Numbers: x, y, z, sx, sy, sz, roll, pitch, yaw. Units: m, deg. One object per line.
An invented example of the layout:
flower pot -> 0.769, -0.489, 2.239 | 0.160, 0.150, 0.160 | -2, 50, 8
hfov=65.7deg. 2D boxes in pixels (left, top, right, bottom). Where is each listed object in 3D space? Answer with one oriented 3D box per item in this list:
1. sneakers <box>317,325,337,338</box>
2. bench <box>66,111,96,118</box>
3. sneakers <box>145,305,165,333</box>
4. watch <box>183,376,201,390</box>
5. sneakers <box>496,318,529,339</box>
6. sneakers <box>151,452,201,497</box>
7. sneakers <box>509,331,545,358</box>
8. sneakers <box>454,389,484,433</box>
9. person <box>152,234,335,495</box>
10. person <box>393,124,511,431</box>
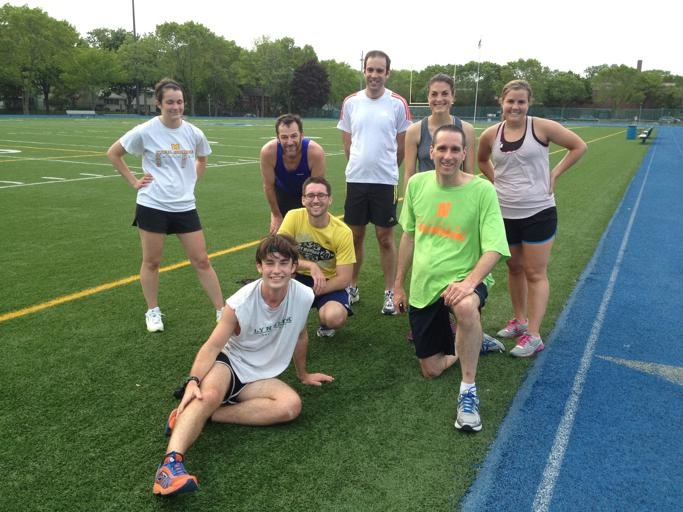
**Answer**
sneakers -> -0.149, 0.728, 5.118 | 0.169, 0.126, 0.086 | 0, 10, 17
bench -> -30.432, -16.626, 61.572 | 2.621, 0.515, 10.475 | -10, 20, -27
sneakers -> -1.797, 0.619, 5.101 | 0.130, 0.132, 0.279 | -4, 8, -32
watch -> -1.013, 0.853, 3.561 | 0.096, 0.041, 0.089 | -12, -10, 37
sneakers -> 1.659, 0.696, 5.188 | 0.341, 0.171, 0.139 | -9, 11, -9
sneakers -> -0.998, 1.314, 3.143 | 0.186, 0.195, 0.247 | -16, 23, -40
sneakers -> 1.671, 0.799, 4.767 | 0.354, 0.169, 0.149 | -9, 6, -43
sneakers -> 0.895, 1.116, 3.728 | 0.128, 0.165, 0.361 | -2, -1, 12
person -> -0.715, 0.554, 3.743 | 0.928, 1.359, 2.010 | 7, 8, 28
person -> 0.883, 0.056, 4.097 | 0.748, 2.053, 1.269 | -4, 17, -10
